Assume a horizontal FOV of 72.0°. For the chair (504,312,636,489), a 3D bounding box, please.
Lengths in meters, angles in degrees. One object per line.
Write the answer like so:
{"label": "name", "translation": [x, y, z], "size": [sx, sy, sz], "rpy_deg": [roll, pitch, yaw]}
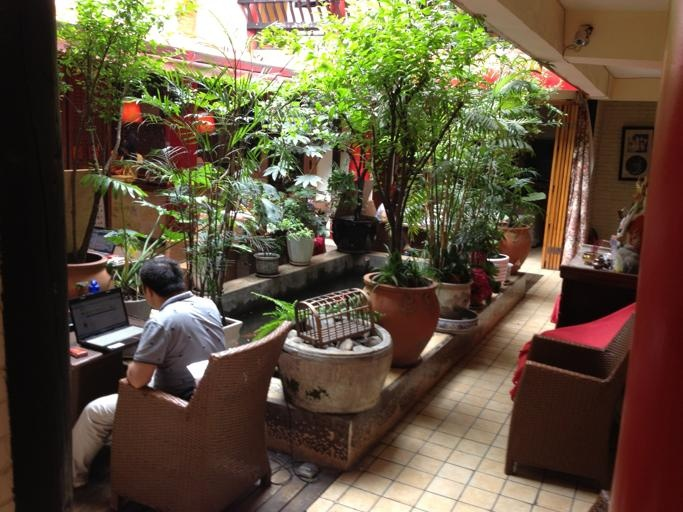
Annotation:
{"label": "chair", "translation": [1.583, 0.918, 3.228], "size": [0.735, 0.968, 0.725], "rpy_deg": [5, 11, 28]}

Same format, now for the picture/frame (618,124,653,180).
{"label": "picture/frame", "translation": [5.853, -2.059, 9.423], "size": [0.575, 1.096, 0.297], "rpy_deg": [11, 15, 26]}

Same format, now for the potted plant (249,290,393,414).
{"label": "potted plant", "translation": [-0.054, 0.638, 3.368], "size": [0.839, 0.693, 0.809], "rpy_deg": [-3, 11, -16]}

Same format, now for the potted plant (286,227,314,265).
{"label": "potted plant", "translation": [-0.618, -0.135, 7.230], "size": [0.497, 0.561, 0.509], "rpy_deg": [0, 2, -4]}

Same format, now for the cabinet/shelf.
{"label": "cabinet/shelf", "translation": [2.387, 0.283, 4.665], "size": [0.750, 0.845, 1.290], "rpy_deg": [5, 16, 24]}

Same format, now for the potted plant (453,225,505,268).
{"label": "potted plant", "translation": [1.790, -0.173, 6.128], "size": [0.479, 0.502, 0.505], "rpy_deg": [3, 4, 11]}

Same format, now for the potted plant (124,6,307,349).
{"label": "potted plant", "translation": [-1.314, -0.496, 4.110], "size": [1.309, 2.077, 1.366], "rpy_deg": [-15, -12, 2]}

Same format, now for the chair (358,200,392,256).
{"label": "chair", "translation": [0.631, -0.539, 8.596], "size": [1.057, 0.763, 1.018], "rpy_deg": [0, 13, 0]}

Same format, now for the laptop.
{"label": "laptop", "translation": [-1.481, 0.414, 3.078], "size": [0.394, 0.257, 0.460], "rpy_deg": [10, 11, 23]}
